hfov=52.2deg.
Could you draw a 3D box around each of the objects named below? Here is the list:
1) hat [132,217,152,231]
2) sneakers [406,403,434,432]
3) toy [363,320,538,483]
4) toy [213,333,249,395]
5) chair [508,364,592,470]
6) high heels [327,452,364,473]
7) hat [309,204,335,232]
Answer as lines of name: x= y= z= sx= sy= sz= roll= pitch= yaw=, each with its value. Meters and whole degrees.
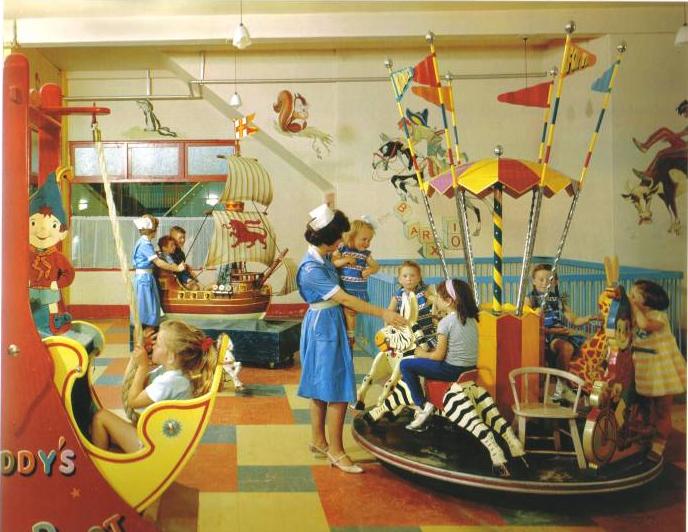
hat: x=-2.007 y=-0.436 z=7.038 sx=0.166 sy=0.145 sz=0.175 roll=1 pitch=4 yaw=6
sneakers: x=0.489 y=1.027 z=4.683 sx=0.109 sy=0.123 sz=0.290 roll=-39 pitch=-8 yaw=-29
toy: x=0.613 y=0.911 z=4.647 sx=0.369 sy=0.585 sz=1.287 roll=-7 pitch=12 yaw=-39
toy: x=-0.935 y=0.819 z=5.999 sx=0.187 sy=0.392 sz=0.803 roll=0 pitch=4 yaw=-9
chair: x=1.260 y=0.924 z=4.374 sx=0.446 sy=0.581 sz=0.422 roll=-3 pitch=-5 yaw=30
high heels: x=-0.001 y=1.279 z=4.600 sx=0.276 sy=0.126 sz=0.095 roll=-1 pitch=0 yaw=29
hat: x=-0.135 y=-0.283 z=4.563 sx=0.175 sy=0.081 sz=0.142 roll=-39 pitch=35 yaw=7
